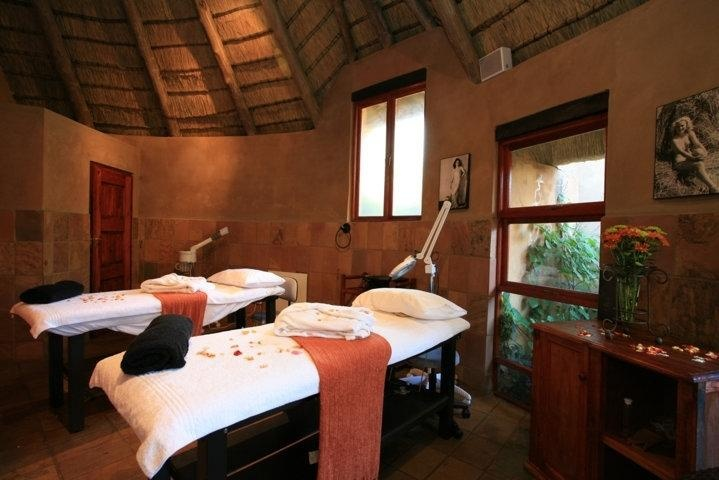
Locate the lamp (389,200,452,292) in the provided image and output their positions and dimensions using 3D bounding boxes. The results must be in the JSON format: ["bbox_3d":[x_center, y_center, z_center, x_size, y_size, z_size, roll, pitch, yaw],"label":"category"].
[{"bbox_3d":[0.615,0.095,4.939,0.492,0.954,1.012,3,3,10],"label":"lamp"}]

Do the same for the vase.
[{"bbox_3d":[2.117,0.457,4.038,0.550,0.636,0.496,2,-5,-3],"label":"vase"}]

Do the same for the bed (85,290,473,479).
[{"bbox_3d":[-0.473,0.905,3.888,2.409,0.604,1.224,-10,13,-38],"label":"bed"}]

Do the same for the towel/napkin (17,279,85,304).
[{"bbox_3d":[-2.877,0.490,4.682,0.280,0.169,0.472,4,4,27],"label":"towel/napkin"}]

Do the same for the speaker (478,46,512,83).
[{"bbox_3d":[1.338,-1.714,5.052,0.237,0.352,0.407,-3,0,-34],"label":"speaker"}]

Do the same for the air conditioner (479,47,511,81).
[{"bbox_3d":[1.373,-1.745,5.036,0.159,0.255,0.287,-6,-5,-34],"label":"air conditioner"}]

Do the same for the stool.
[{"bbox_3d":[0.637,1.304,4.798,0.726,0.668,0.686,-4,-3,36],"label":"stool"}]

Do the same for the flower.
[{"bbox_3d":[2.161,0.282,3.935,0.512,0.752,0.454,3,-2,-17],"label":"flower"}]
